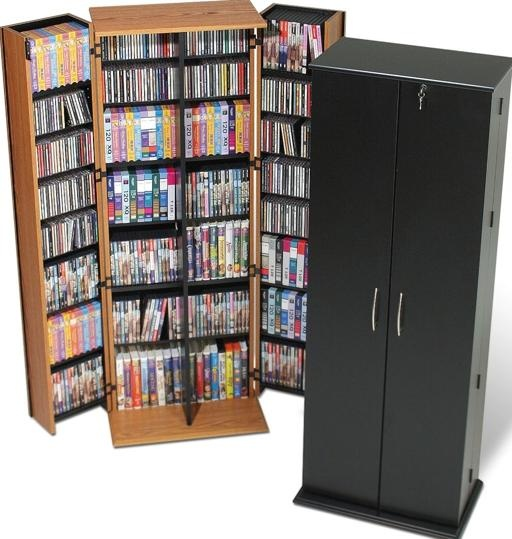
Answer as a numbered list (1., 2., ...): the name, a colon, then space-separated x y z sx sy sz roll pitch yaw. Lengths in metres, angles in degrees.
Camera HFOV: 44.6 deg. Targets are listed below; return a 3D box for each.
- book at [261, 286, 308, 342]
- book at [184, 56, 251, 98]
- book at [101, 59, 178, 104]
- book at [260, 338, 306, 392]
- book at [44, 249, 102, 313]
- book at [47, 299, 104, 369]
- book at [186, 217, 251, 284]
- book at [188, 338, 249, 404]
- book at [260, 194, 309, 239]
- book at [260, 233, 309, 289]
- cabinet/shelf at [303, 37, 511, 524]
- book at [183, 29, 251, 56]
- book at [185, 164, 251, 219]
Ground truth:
1. book: 0.200 0.289 4.211 0.290 0.321 0.110 16 34 24
2. book: -0.226 -1.111 3.683 0.387 0.209 0.054 -4 10 -16
3. book: -0.666 -1.063 3.607 0.428 0.193 0.069 -1 9 -3
4. book: 0.200 0.660 4.378 0.321 0.359 0.116 12 32 20
5. book: -1.162 0.062 3.920 0.287 0.274 0.095 -25 42 -29
6. book: -1.182 0.406 4.033 0.329 0.317 0.109 -25 40 -30
7. book: -0.256 -0.133 4.019 0.315 0.363 0.140 -4 23 -6
8. book: -0.256 0.715 4.545 0.455 0.521 0.368 -5 21 -6
9. book: 0.192 -0.347 4.000 0.235 0.219 0.102 12 33 18
10. book: 0.197 -0.067 4.082 0.254 0.283 0.090 15 34 23
11. cabinet/shelf: 0.613 0.248 2.926 0.793 2.304 0.724 1 9 9
12. book: -0.224 -1.300 3.575 0.352 0.142 0.057 -3 10 -13
13. book: -0.247 -0.491 3.894 0.268 0.263 0.104 -5 28 -8
